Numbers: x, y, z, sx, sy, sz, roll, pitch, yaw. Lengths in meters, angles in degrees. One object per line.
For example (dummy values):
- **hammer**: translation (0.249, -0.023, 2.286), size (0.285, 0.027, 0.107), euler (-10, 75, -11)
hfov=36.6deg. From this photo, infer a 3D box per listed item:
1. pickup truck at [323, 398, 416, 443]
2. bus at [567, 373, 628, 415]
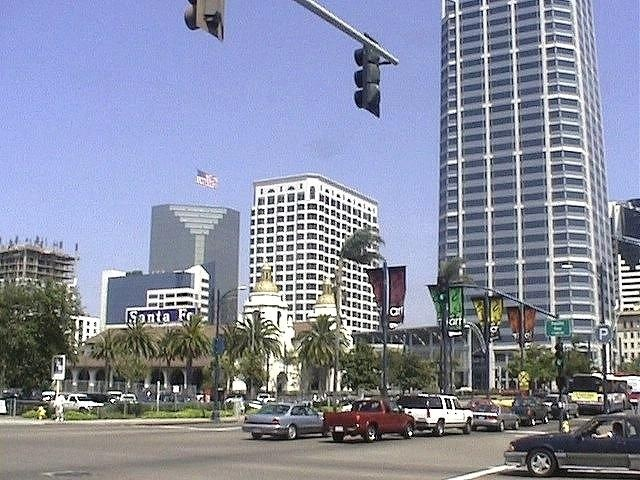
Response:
- **pickup truck**: translation (3.514, 12.403, 66.034), size (3.604, 3.034, 7.129), euler (-9, -13, 40)
- **bus**: translation (26.617, 14.468, 91.182), size (3.343, 3.915, 11.070), euler (-1, -7, 32)
